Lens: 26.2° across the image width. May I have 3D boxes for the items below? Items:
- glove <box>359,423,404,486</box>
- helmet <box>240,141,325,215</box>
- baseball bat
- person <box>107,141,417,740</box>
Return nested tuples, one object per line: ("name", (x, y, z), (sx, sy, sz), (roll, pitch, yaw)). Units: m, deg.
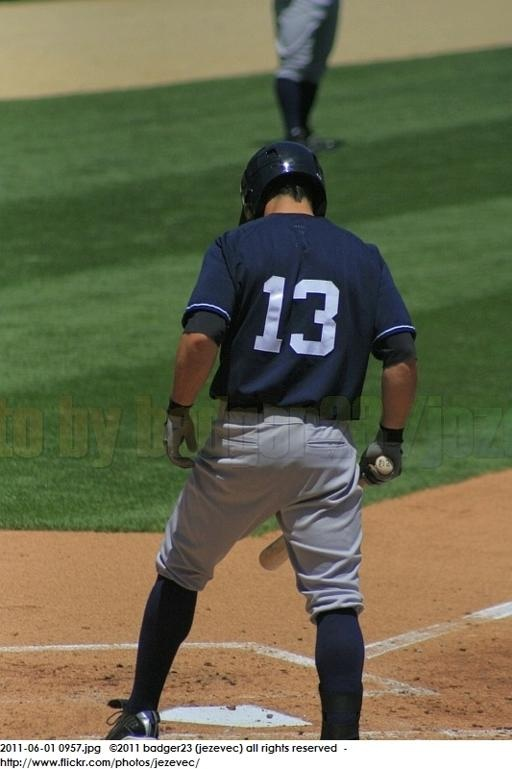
("glove", (0.445, 0.253, 3.896), (0.168, 0.197, 0.097), (-8, -28, 17))
("helmet", (0.089, -0.751, 4.062), (0.254, 0.259, 0.314), (4, 1, -21))
("baseball bat", (0.248, 0.477, 4.005), (0.116, 0.167, 0.910), (42, -20, 6))
("person", (0.058, 0.333, 3.783), (0.845, 1.856, 0.427), (8, 5, 13))
